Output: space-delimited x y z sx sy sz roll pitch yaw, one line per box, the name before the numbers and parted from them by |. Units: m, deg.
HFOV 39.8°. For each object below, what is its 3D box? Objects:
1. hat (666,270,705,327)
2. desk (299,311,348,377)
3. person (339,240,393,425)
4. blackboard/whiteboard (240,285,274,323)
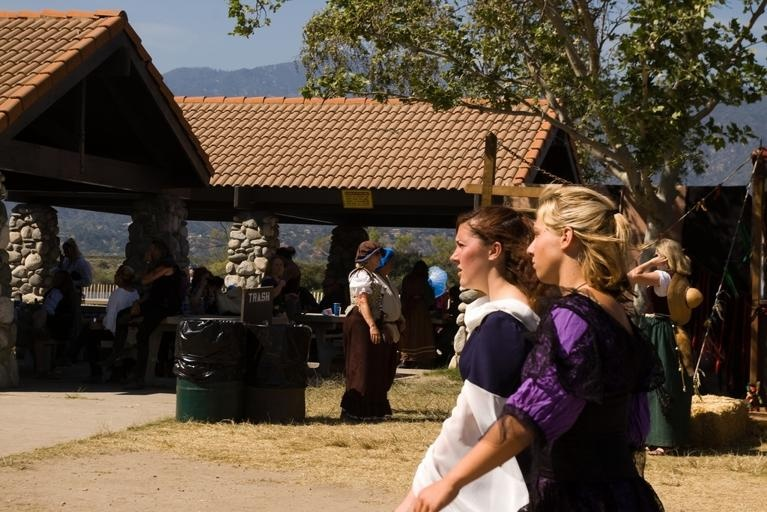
hat | 3.825 0.553 13.402 0.223 0.631 0.441 2 7 41
desk | -1.193 1.454 18.980 0.577 0.709 1.035 23 -11 -24
person | -0.207 1.067 14.730 0.629 2.442 0.652 3 -5 -1
blackboard/whiteboard | -1.754 0.693 14.822 0.191 0.562 0.784 0 -7 27
